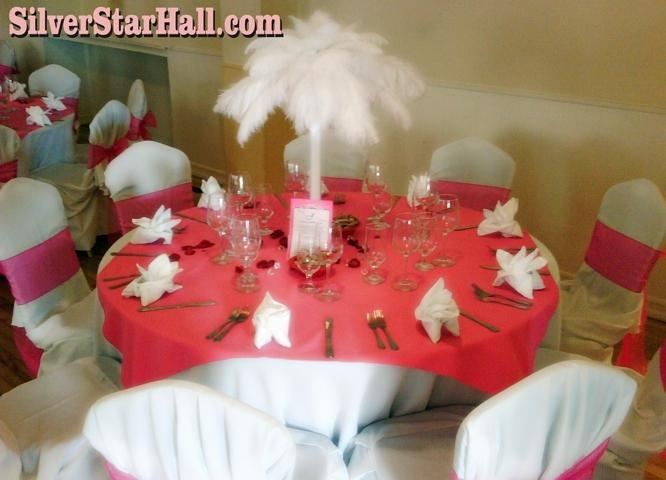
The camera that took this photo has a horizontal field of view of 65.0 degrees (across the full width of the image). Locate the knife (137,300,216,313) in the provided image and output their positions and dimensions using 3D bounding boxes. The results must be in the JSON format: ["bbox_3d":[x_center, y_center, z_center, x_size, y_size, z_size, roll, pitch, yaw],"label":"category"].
[{"bbox_3d":[-0.596,0.251,1.980,0.257,0.017,0.040,1,37,-16],"label":"knife"}]

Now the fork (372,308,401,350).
[{"bbox_3d":[0.186,0.320,1.892,0.035,0.027,0.217,-3,36,-10],"label":"fork"}]

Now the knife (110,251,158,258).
[{"bbox_3d":[-0.875,0.064,2.304,0.194,0.032,0.009,2,-15,2],"label":"knife"}]

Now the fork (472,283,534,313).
[{"bbox_3d":[0.647,0.235,2.070,0.263,0.056,0.083,20,39,27],"label":"fork"}]

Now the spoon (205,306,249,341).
[{"bbox_3d":[-0.379,0.307,1.894,0.057,0.030,0.183,17,34,19],"label":"spoon"}]

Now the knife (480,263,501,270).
[{"bbox_3d":[0.676,0.112,2.256,0.085,0.010,0.029,1,40,12],"label":"knife"}]

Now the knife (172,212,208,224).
[{"bbox_3d":[-0.722,-0.111,2.636,0.126,0.010,0.036,21,42,16],"label":"knife"}]

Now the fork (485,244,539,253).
[{"bbox_3d":[0.824,0.041,2.395,0.228,0.025,0.079,0,25,-5],"label":"fork"}]
